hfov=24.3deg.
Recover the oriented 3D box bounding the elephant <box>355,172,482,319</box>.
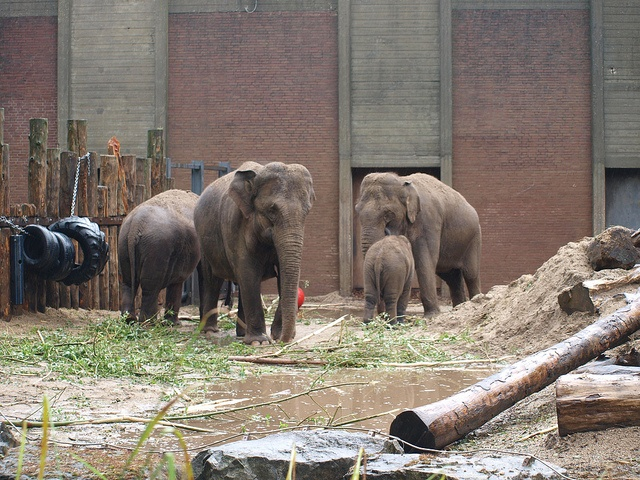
[{"bbox_3d":[2.076,0.255,31.777,3.686,2.956,1.367,7,-10,-41],"label":"elephant"}]

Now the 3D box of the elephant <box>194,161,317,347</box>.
[{"bbox_3d":[-1.378,0.307,29.640,1.988,3.544,4.174,1,-1,-24],"label":"elephant"}]

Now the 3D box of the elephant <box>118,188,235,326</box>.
[{"bbox_3d":[-3.055,0.371,31.021,1.491,2.761,3.390,8,9,20],"label":"elephant"}]

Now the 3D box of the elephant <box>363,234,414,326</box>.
[{"bbox_3d":[1.493,0.648,31.096,0.972,1.692,2.195,3,18,15],"label":"elephant"}]
